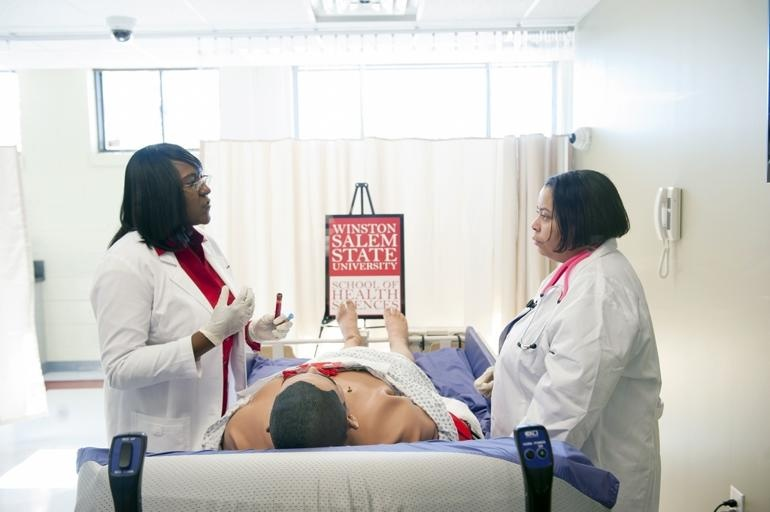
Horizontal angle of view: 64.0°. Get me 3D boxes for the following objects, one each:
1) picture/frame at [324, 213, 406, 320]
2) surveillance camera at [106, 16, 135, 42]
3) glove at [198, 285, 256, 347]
[{"bbox_3d":[-0.131,0.086,4.075,0.633,0.891,0.040,0,-3,3],"label":"picture/frame"},{"bbox_3d":[-1.886,-1.636,4.422,0.144,0.119,0.151,0,2,12],"label":"surveillance camera"},{"bbox_3d":[-0.752,0.289,2.957,0.305,0.186,0.081,-48,10,-19],"label":"glove"}]
